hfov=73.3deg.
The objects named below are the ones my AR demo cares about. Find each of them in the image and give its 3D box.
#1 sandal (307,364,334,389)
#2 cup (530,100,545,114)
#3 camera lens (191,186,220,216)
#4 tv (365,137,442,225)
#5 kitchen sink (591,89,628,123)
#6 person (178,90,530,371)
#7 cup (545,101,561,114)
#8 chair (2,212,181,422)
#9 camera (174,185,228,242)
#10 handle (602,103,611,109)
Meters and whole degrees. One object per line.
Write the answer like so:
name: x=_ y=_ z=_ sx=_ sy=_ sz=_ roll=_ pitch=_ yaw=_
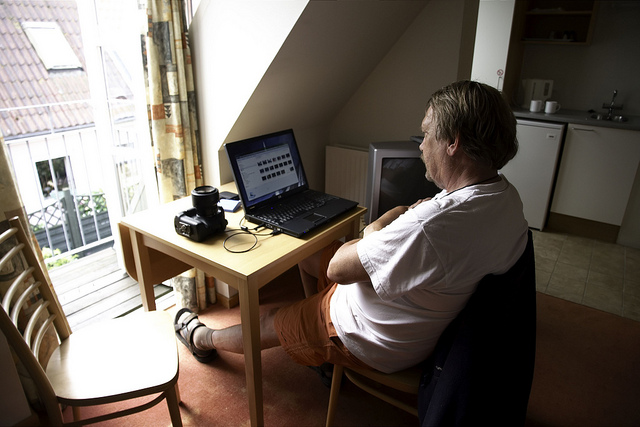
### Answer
sandal: x=0.015 y=1.010 z=2.731 sx=0.153 sy=0.113 sz=0.048 roll=16 pitch=54 yaw=39
cup: x=2.184 y=-1.065 z=4.295 sx=0.160 sy=0.116 sz=0.096 roll=-22 pitch=23 yaw=-34
camera lens: x=-0.623 y=-0.067 z=2.407 sx=0.142 sy=0.139 sz=0.146 roll=4 pitch=27 yaw=10
tv: x=0.491 y=-0.188 z=2.512 sx=0.407 sy=0.409 sz=0.225 roll=-16 pitch=31 yaw=-18
kitchen sink: x=2.748 y=-1.013 z=4.050 sx=0.291 sy=0.244 sz=0.566 roll=11 pitch=24 yaw=32
person: x=0.289 y=0.060 z=2.503 sx=1.546 sy=1.207 sz=0.912 roll=6 pitch=14 yaw=28
cup: x=2.303 y=-1.044 z=4.211 sx=0.163 sy=0.124 sz=0.103 roll=-19 pitch=22 yaw=-27
chair: x=-1.290 y=0.617 z=2.481 sx=0.670 sy=1.125 sz=0.578 roll=-3 pitch=44 yaw=-18
camera: x=-0.659 y=-0.001 z=2.397 sx=0.183 sy=0.253 sz=0.259 roll=18 pitch=28 yaw=31
handle: x=2.829 y=-1.053 z=4.224 sx=0.066 sy=0.046 sz=0.061 roll=-21 pitch=43 yaw=-28
